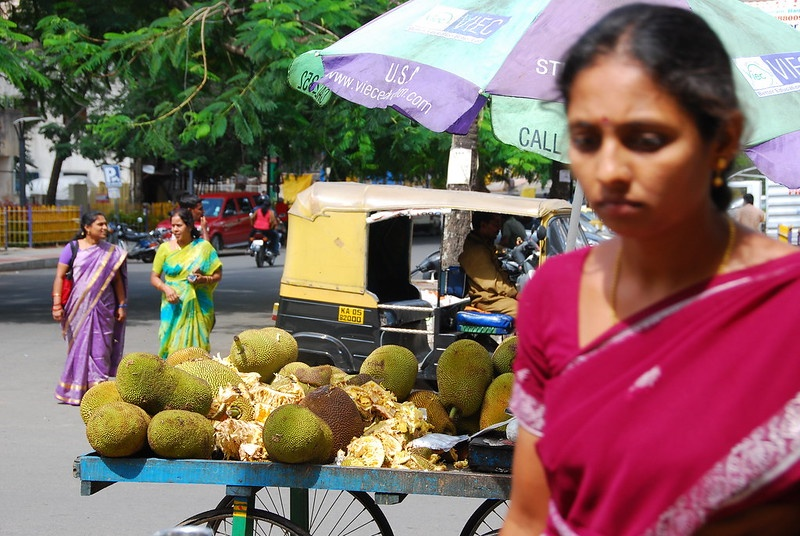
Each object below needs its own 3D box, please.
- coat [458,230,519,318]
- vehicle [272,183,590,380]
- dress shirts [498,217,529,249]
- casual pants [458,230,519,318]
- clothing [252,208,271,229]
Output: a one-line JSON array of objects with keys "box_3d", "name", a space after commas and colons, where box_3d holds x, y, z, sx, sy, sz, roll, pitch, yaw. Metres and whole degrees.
[{"box_3d": [0.884, 0.100, 8.782, 0.486, 0.404, 0.830, -11, 49, -4], "name": "coat"}, {"box_3d": [0.356, 0.408, 8.663, 2.917, 2.192, 1.807, 4, 4, 20], "name": "vehicle"}, {"box_3d": [1.453, -0.435, 11.260, 0.461, 0.470, 0.267, 4, 5, 15], "name": "dress shirts"}, {"box_3d": [0.963, 0.081, 9.000, 0.598, 1.014, 0.671, -1, 16, 14], "name": "casual pants"}, {"box_3d": [-3.717, -1.298, 23.920, 0.548, 0.685, 0.390, 3, -30, -3], "name": "clothing"}]
